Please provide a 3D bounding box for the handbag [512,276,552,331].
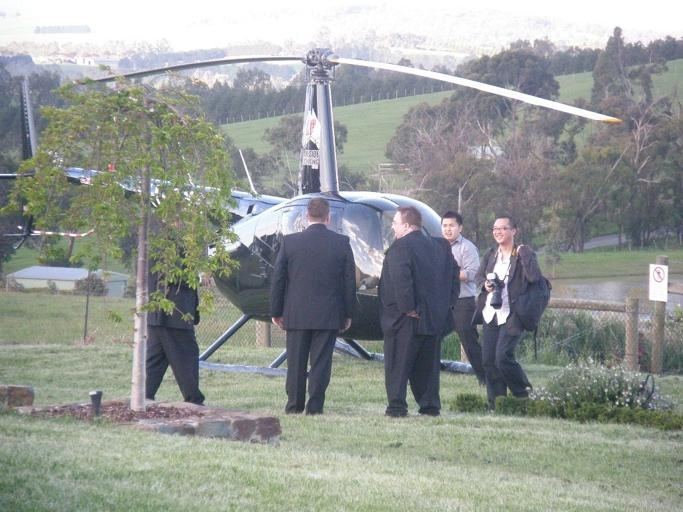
[{"bbox_3d":[4.122,1.036,29.695,0.829,0.938,0.284,2,1,-23],"label":"handbag"}]
